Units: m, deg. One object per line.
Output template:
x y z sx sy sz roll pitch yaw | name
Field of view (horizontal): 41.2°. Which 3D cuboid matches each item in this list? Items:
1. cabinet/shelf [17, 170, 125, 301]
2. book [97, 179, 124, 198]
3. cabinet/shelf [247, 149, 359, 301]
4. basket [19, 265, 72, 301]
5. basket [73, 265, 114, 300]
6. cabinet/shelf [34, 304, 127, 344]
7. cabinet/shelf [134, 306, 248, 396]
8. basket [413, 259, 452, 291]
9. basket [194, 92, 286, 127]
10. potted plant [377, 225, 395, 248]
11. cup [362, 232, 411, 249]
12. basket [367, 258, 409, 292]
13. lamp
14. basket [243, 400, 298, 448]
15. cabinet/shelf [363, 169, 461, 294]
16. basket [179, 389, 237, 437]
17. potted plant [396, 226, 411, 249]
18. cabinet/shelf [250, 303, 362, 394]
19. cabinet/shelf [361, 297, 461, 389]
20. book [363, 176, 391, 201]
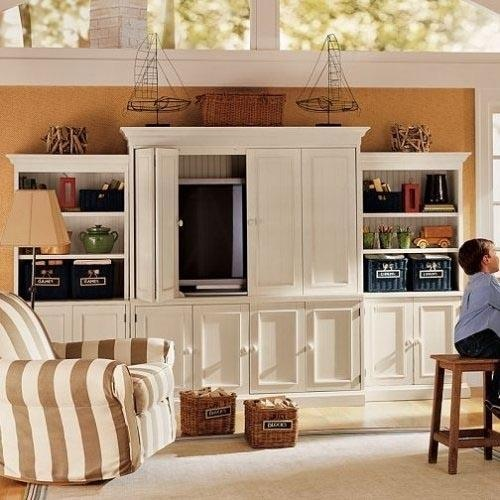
-1.352 -0.104 4.938 1.026 1.306 0.341 0 -1 -12 | cabinet/shelf
-1.074 -0.467 5.164 0.153 0.150 0.052 -4 16 -45 | book
0.360 -0.244 5.226 0.950 1.232 0.379 -2 4 -20 | cabinet/shelf
-1.579 0.219 5.170 0.447 0.337 0.261 1 5 -5 | basket
-1.180 0.241 5.123 0.410 0.328 0.242 0 -3 -11 | basket
-1.264 0.537 4.843 0.335 0.308 0.108 0 -4 -7 | cabinet/shelf
-0.388 0.780 5.169 0.972 0.808 0.343 -3 -5 17 | cabinet/shelf
1.441 0.197 5.396 0.327 0.312 0.253 0 -2 -3 | basket
-0.050 -1.075 5.093 0.456 0.179 0.327 -1 5 -4 | basket
1.095 -0.103 5.464 0.171 0.211 0.173 0 0 7 | potted plant
1.091 -0.070 5.413 0.259 0.092 0.194 0 0 -1 | cup
1.079 0.201 5.349 0.388 0.315 0.248 0 -1 -6 | basket
-1.354 -0.159 4.180 0.397 0.936 0.392 1 1 1 | lamp
0.131 1.109 4.244 0.297 0.292 0.292 1 -4 -9 | basket
1.308 -0.128 5.399 0.989 1.149 0.314 1 -7 -6 | cabinet/shelf
-0.277 1.081 4.530 0.359 0.286 0.284 2 -5 -22 | basket
1.245 -0.094 5.463 0.156 0.167 0.157 -1 -2 17 | potted plant
0.390 0.760 5.209 0.959 0.774 0.352 0 -2 -14 | cabinet/shelf
1.195 0.725 5.120 0.757 0.691 0.287 0 -1 -4 | cabinet/shelf
1.022 -0.508 5.365 0.197 0.197 0.093 -14 -23 -15 | book
